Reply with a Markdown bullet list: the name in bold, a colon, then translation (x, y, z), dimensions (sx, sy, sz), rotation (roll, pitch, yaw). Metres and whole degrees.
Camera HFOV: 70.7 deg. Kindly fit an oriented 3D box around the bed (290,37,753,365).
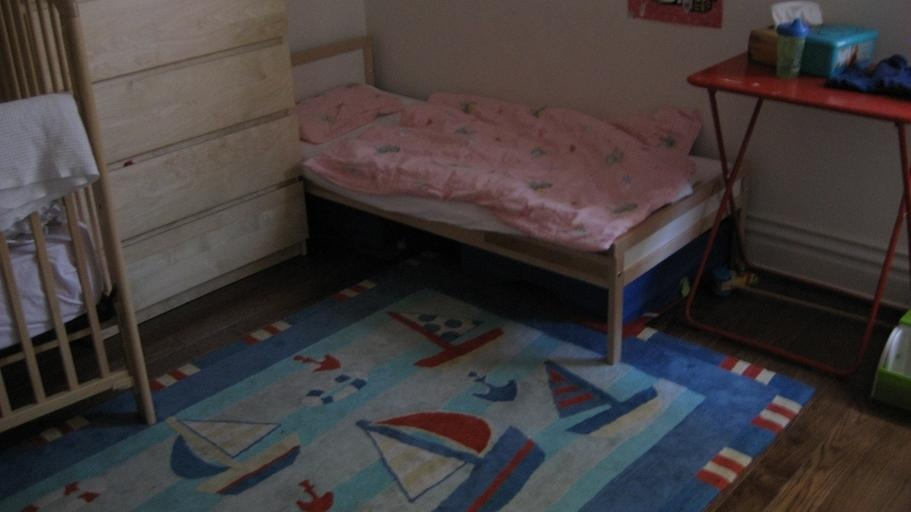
- **bed**: translation (0.322, -0.475, 3.937), dimensions (2.264, 1.047, 1.270), rotation (22, 44, 30)
